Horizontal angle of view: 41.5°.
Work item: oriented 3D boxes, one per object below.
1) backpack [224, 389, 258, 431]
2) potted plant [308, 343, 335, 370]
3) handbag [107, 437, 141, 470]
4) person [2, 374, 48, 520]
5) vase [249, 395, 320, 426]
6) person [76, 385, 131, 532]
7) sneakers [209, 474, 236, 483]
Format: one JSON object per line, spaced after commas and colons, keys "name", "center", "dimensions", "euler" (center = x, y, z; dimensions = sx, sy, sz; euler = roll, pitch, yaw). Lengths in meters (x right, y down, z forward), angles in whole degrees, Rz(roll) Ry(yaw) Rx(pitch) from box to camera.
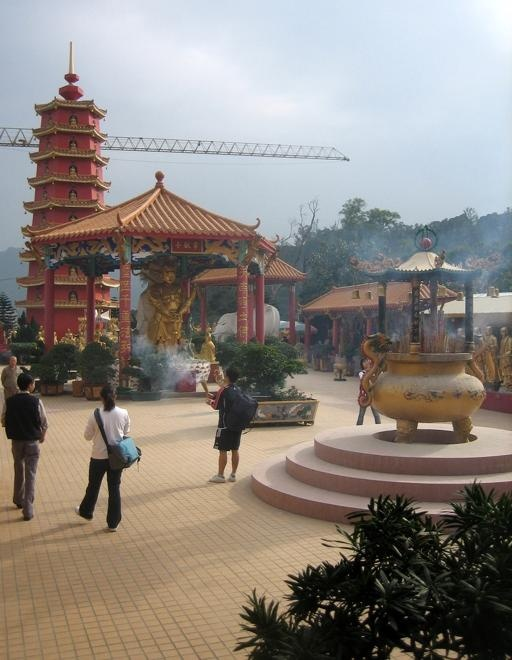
{"name": "backpack", "center": [-0.164, 0.845, 7.149], "dimensions": [0.333, 0.438, 0.292], "euler": [1, -2, -2]}
{"name": "potted plant", "center": [2.757, 1.128, 26.791], "dimensions": [1.075, 1.219, 1.211], "euler": [0, 2, -7]}
{"name": "handbag", "center": [-1.121, 1.066, 5.809], "dimensions": [0.183, 0.255, 0.358], "euler": [0, -2, 27]}
{"name": "person", "center": [-2.152, 1.058, 6.273], "dimensions": [0.386, 1.273, 0.694], "euler": [1, -2, -17]}
{"name": "vase", "center": [0.487, 1.344, 11.028], "dimensions": [0.982, 0.310, 0.590], "euler": [0, -1, -9]}
{"name": "person", "center": [-1.316, 1.088, 5.859], "dimensions": [0.423, 1.205, 0.539], "euler": [1, -2, -14]}
{"name": "sneakers", "center": [-0.367, 1.624, 7.364], "dimensions": [0.296, 0.097, 0.098], "euler": [1, 2, -6]}
